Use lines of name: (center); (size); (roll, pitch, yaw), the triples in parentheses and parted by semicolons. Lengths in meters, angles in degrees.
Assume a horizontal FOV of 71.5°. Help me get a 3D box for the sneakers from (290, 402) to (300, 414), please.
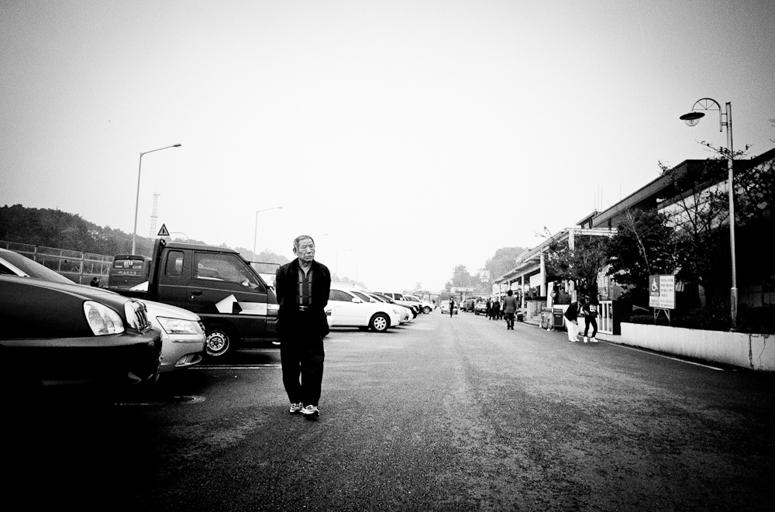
sneakers: (-1.280, 2.103, 7.462); (0.217, 0.174, 0.078); (1, -4, -6)

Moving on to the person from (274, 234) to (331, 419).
person: (-1.222, 0.964, 7.485); (0.714, 2.459, 0.493); (-2, -5, 17)

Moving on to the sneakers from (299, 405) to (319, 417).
sneakers: (-1.063, 2.116, 7.379); (0.114, 0.108, 0.239); (1, -4, 1)

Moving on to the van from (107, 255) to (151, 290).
van: (-15.598, 1.210, 32.738); (2.305, 2.350, 3.761); (5, -2, -18)
